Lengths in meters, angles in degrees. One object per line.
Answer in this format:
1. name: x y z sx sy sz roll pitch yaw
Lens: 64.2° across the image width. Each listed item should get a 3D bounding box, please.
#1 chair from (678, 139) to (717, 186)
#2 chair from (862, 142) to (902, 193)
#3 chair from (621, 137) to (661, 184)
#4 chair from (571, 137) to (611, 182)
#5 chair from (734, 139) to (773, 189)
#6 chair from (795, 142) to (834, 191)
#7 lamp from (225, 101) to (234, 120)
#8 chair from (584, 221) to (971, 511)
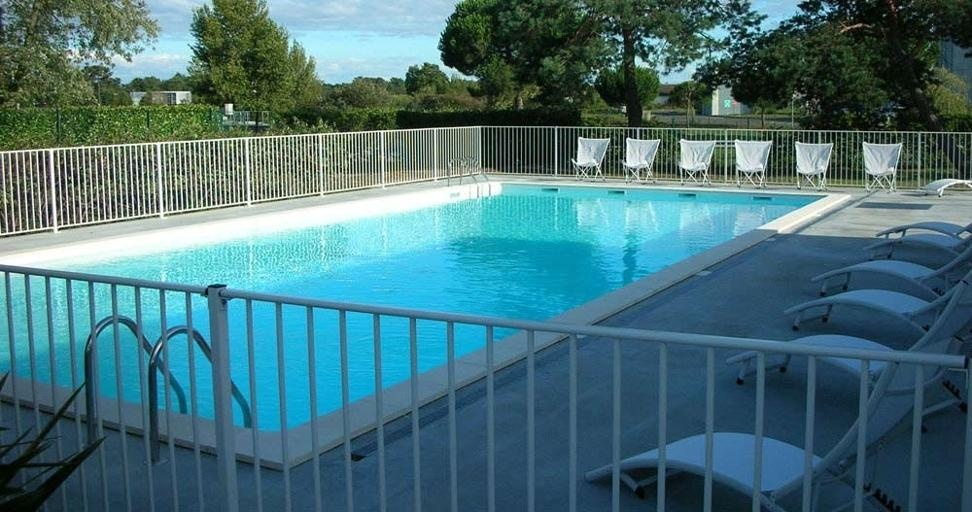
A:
1. chair: 5.993 -2.682 22.104 1.191 1.052 1.037 -3 -10 15
2. chair: 10.176 -2.298 19.964 1.221 1.094 1.146 8 -5 -21
3. chair: 4.477 -2.815 22.760 0.931 0.988 1.035 10 -20 0
4. chair: 3.078 -2.956 22.955 0.973 0.919 1.012 8 28 23
5. chair: 7.473 -2.570 21.510 1.161 1.159 1.036 1 -2 24
6. chair: 8.765 -2.420 20.792 1.048 1.116 0.798 3 -5 7
7. lamp: -16.354 -9.184 49.162 0.486 0.821 1.578 -4 13 -16
8. chair: 3.304 1.435 7.701 3.737 2.049 2.477 -9 15 -33
